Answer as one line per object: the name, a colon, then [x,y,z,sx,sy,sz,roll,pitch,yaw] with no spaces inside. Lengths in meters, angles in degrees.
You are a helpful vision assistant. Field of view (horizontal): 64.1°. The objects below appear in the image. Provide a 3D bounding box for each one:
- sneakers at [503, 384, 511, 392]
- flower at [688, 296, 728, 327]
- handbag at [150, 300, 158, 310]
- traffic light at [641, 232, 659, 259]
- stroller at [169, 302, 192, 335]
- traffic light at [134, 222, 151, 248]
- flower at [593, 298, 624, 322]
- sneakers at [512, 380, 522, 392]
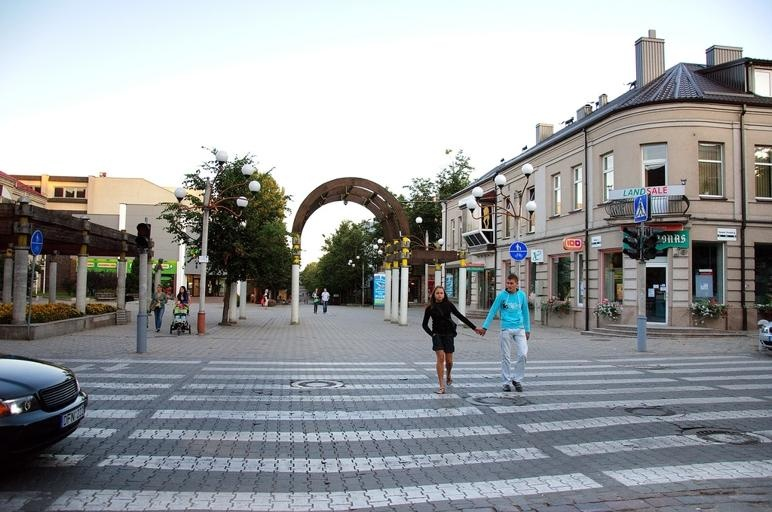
sneakers: [2.612,2.860,13.326,0.142,0.129,0.140,2,-17,-5]
flower: [13.099,2.201,25.062,1.200,0.828,1.186,3,4,18]
handbag: [-10.255,2.178,27.325,0.270,0.439,0.702,3,-6,-31]
traffic light: [8.467,-0.344,19.775,0.493,0.892,0.321,-4,-6,35]
stroller: [-8.263,2.513,24.796,0.752,1.230,1.016,1,-5,-17]
traffic light: [-7.088,-0.603,17.921,0.338,0.747,0.795,2,-5,-23]
flower: [9.632,2.381,26.691,0.813,0.615,0.825,0,16,3]
sneakers: [2.849,2.841,13.430,0.111,0.135,0.324,0,-9,-7]
